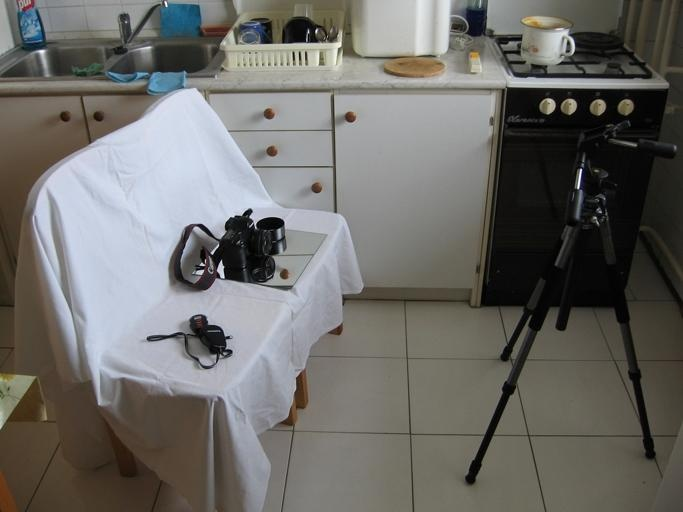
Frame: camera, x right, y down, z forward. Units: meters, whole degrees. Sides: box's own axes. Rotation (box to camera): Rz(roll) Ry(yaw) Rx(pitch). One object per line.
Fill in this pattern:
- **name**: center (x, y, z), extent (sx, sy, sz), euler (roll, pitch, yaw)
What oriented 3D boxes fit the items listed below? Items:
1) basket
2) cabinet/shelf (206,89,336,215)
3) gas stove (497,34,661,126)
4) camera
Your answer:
- **basket**: center (-0.271, -1.028, 2.641), extent (0.553, 0.191, 0.477), euler (0, 31, 1)
- **cabinet/shelf**: center (-0.254, -0.563, 2.681), extent (0.448, 0.710, 0.465), euler (-1, 40, 2)
- **gas stove**: center (1.061, -0.710, 2.385), extent (0.410, 0.218, 0.497), euler (1, 39, 5)
- **camera**: center (-0.359, -0.054, 2.169), extent (0.171, 0.150, 0.273), euler (4, 25, 8)
